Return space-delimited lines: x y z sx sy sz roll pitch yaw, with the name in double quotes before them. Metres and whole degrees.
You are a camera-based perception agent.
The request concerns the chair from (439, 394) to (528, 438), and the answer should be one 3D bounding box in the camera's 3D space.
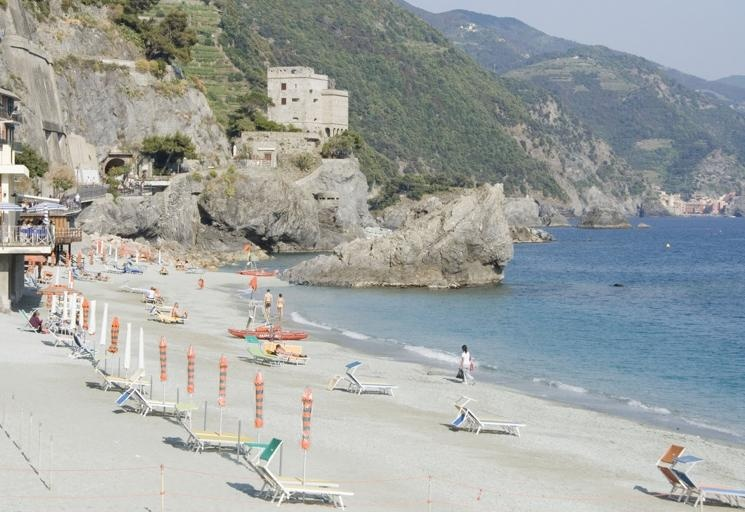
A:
"chair" 8.185 11.784 97.628 5.093 2.357 2.640 0 3 -11
